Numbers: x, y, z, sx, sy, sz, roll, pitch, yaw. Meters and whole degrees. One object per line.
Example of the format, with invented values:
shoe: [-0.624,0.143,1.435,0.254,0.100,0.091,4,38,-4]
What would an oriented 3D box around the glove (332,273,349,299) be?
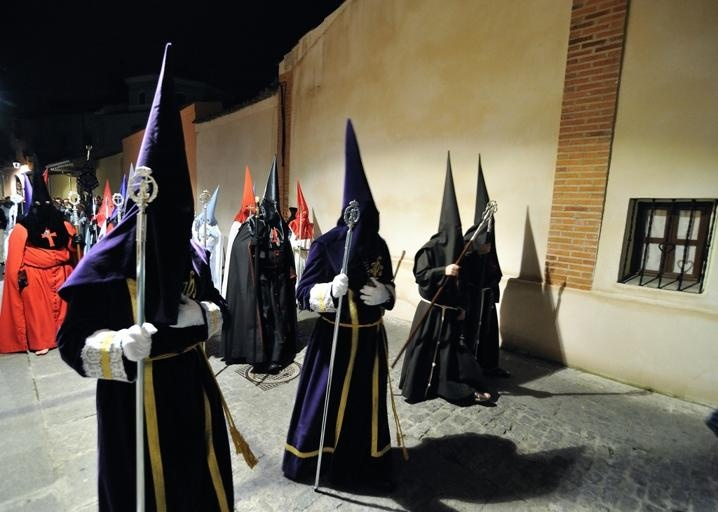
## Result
glove: [-0.188,0.282,4.932,0.076,0.229,0.166,4,2,-39]

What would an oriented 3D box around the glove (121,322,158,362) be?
glove: [-1.790,0.698,4.139,0.254,0.327,0.172,0,5,-27]

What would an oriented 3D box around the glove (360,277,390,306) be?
glove: [0.177,0.367,5.162,0.177,0.275,0.302,7,6,39]

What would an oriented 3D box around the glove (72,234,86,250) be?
glove: [-4.378,-0.200,8.000,0.172,0.260,0.086,0,22,-13]

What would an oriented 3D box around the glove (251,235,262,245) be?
glove: [-1.387,-0.220,6.986,0.111,0.087,0.108,3,-2,-36]
